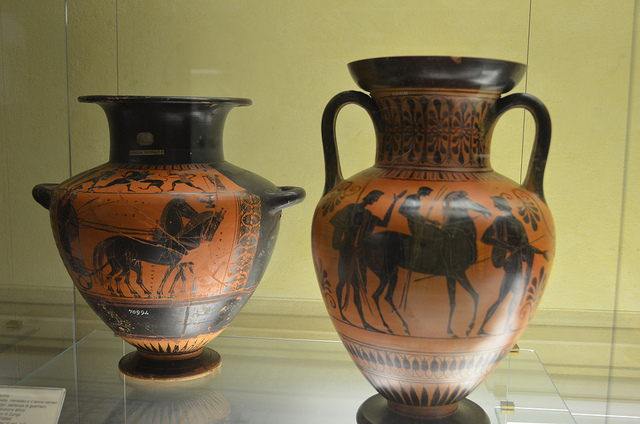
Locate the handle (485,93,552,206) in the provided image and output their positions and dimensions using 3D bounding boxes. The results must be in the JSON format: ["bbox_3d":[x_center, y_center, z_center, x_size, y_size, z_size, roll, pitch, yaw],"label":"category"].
[{"bbox_3d":[0.566,-0.193,2.091,0.228,0.454,0.062,6,55,18],"label":"handle"}]

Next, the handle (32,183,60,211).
[{"bbox_3d":[-0.848,-0.058,2.204,0.096,0.066,0.072,0,1,8],"label":"handle"}]

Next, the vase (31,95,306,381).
[{"bbox_3d":[-0.449,0.093,2.417,1.080,0.876,0.784,1,4,0],"label":"vase"}]

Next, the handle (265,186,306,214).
[{"bbox_3d":[-0.107,-0.034,2.160,0.121,0.042,0.072,-2,4,-11],"label":"handle"}]
